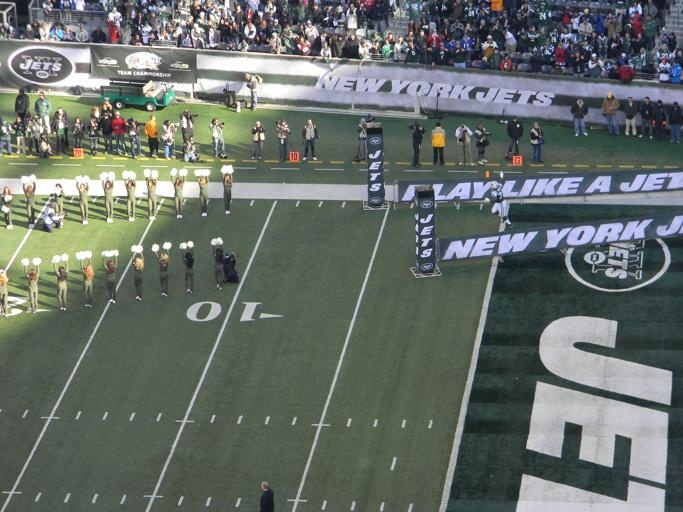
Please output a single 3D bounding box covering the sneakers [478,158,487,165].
[{"bbox_3d":[6.622,-4.386,73.233,0.285,0.102,0.276,-31,42,-34],"label":"sneakers"}]
